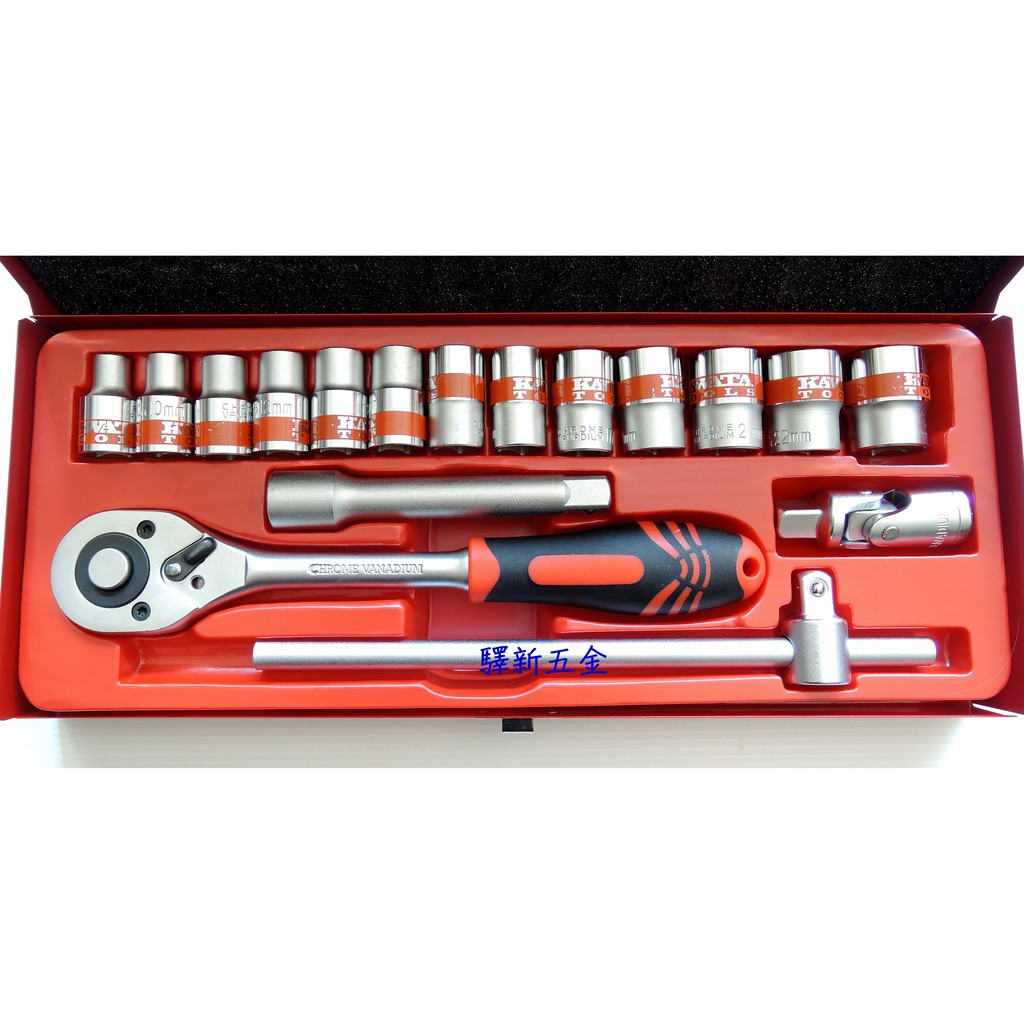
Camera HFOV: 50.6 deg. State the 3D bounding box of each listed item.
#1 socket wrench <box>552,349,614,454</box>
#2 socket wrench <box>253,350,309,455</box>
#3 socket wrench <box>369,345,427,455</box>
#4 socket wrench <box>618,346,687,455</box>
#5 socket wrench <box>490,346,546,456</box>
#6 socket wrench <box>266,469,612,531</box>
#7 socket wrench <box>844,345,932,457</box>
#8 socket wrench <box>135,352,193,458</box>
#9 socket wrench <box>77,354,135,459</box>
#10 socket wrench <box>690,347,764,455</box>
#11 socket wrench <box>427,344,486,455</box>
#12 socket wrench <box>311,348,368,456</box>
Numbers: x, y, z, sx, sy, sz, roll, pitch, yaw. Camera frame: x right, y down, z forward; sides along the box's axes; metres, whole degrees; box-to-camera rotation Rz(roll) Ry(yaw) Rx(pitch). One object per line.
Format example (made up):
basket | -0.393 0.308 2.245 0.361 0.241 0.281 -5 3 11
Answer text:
socket wrench | 0.119 -0.184 1.798 0.095 0.168 0.046 -4 4 6
socket wrench | -0.387 -0.184 1.798 0.099 0.168 0.051 -5 4 -10
socket wrench | -0.194 -0.192 1.792 0.096 0.167 0.056 -5 4 -6
socket wrench | 0.230 -0.189 1.800 0.104 0.170 0.050 -4 4 4
socket wrench | 0.009 -0.191 1.791 0.090 0.169 0.049 -5 4 0
socket wrench | -0.129 -0.025 1.796 0.449 0.076 0.076 1 38 0
socket wrench | 0.625 -0.190 1.807 0.124 0.172 0.061 -3 5 15
socket wrench | -0.581 -0.180 1.796 0.094 0.170 0.051 -6 4 -13
socket wrench | -0.672 -0.180 1.796 0.088 0.168 0.059 -6 4 -15
socket wrench | 0.367 -0.191 1.837 0.139 0.149 0.110 0 0 13
socket wrench | -0.094 -0.192 1.791 0.100 0.169 0.050 -5 4 -3
socket wrench | -0.288 -0.188 1.787 0.089 0.165 0.041 -5 4 -7
